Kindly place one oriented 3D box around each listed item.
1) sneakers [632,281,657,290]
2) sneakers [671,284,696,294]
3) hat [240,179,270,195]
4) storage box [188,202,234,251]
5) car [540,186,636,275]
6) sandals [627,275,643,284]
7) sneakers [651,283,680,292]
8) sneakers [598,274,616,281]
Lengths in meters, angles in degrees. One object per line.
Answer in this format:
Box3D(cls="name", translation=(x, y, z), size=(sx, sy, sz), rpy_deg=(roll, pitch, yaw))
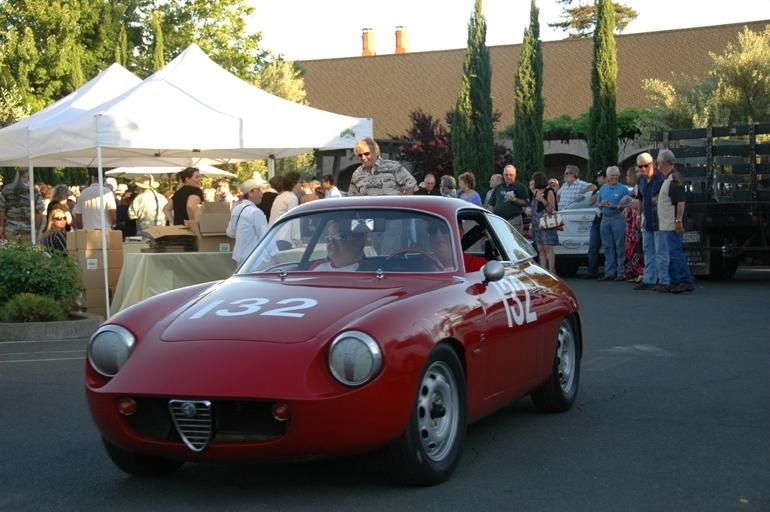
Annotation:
Box3D(cls="sneakers", translation=(4.893, 0.565, 15.332), size=(0.389, 0.197, 0.156), rpy_deg=(3, 1, 1))
Box3D(cls="sneakers", translation=(5.419, 0.616, 14.693), size=(0.483, 0.243, 0.174), rpy_deg=(0, -1, -16))
Box3D(cls="hat", translation=(-2.098, -1.094, 12.576), size=(0.334, 0.148, 0.224), rpy_deg=(-17, 12, -15))
Box3D(cls="storage box", translation=(-2.871, -0.468, 13.372), size=(0.624, 0.902, 0.867), rpy_deg=(1, 8, 4))
Box3D(cls="car", translation=(4.337, -0.520, 18.183), size=(1.111, 1.092, 2.742), rpy_deg=(1, 13, 27))
Box3D(cls="sandals", translation=(5.169, 0.512, 16.745), size=(0.120, 0.188, 0.419), rpy_deg=(-8, -8, 23))
Box3D(cls="sneakers", translation=(5.179, 0.611, 14.701), size=(0.391, 0.198, 0.143), rpy_deg=(5, 2, 23))
Box3D(cls="sneakers", translation=(4.719, 0.502, 17.254), size=(0.366, 0.172, 0.136), rpy_deg=(3, 8, 8))
